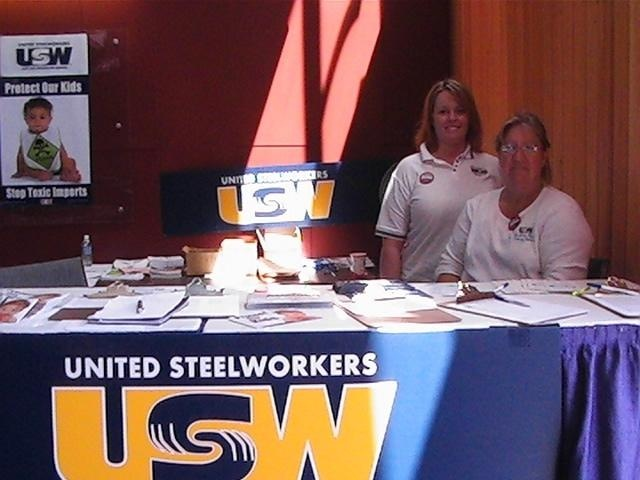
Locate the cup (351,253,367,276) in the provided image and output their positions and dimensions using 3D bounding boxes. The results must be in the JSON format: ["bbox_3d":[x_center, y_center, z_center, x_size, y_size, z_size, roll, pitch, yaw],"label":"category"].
[{"bbox_3d":[0.232,0.144,4.727,0.116,0.122,0.115,-2,12,0],"label":"cup"}]

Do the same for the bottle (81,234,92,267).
[{"bbox_3d":[-1.464,0.067,4.938,0.069,0.185,0.194,-1,10,-17],"label":"bottle"}]

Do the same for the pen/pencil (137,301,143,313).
[{"bbox_3d":[-0.696,0.254,3.035,0.018,0.021,0.062,6,20,-7],"label":"pen/pencil"}]

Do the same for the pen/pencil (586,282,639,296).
[{"bbox_3d":[1.231,0.206,3.309,0.127,0.030,0.030,7,10,15],"label":"pen/pencil"}]

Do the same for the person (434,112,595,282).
[{"bbox_3d":[0.896,-0.129,3.701,0.678,0.947,0.655,1,-4,30],"label":"person"}]
